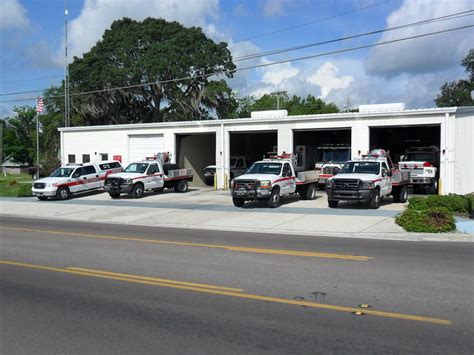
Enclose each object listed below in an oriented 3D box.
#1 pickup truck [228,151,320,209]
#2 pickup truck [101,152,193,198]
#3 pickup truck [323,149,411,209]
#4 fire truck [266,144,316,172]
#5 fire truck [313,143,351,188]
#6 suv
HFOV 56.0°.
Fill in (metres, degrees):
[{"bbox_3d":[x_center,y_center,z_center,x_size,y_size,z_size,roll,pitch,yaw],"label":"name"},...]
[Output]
[{"bbox_3d":[1.971,0.048,23.995,2.923,2.593,6.468,0,3,36],"label":"pickup truck"},{"bbox_3d":[-5.760,-0.048,28.651,1.744,2.452,5.569,0,3,40],"label":"pickup truck"},{"bbox_3d":[6.559,0.011,22.065,5.332,2.759,2.234,-4,3,-44],"label":"pickup truck"},{"bbox_3d":[3.714,-1.429,30.718,2.901,2.310,3.483,2,4,24],"label":"fire truck"},{"bbox_3d":[5.941,-0.936,28.461,2.073,2.977,2.003,4,4,22],"label":"fire truck"},{"bbox_3d":[-10.231,0.112,29.029,2.217,1.806,5.378,0,4,30],"label":"suv"}]
